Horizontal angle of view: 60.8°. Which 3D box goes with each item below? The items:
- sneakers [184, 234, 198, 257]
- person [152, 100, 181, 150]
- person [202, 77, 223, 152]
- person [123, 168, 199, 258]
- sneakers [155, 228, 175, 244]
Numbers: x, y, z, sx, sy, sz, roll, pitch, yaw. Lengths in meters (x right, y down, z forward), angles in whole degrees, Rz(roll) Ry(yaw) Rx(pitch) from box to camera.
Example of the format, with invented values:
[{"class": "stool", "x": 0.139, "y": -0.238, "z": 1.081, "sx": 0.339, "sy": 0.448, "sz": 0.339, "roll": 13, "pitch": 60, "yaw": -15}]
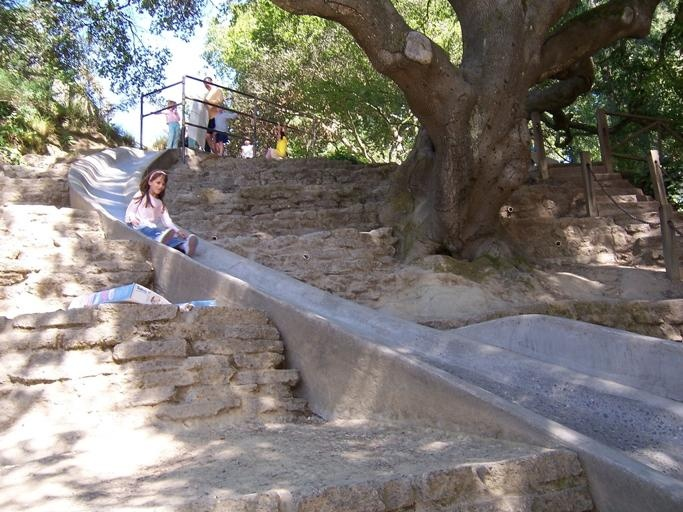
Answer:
[{"class": "sneakers", "x": -1.724, "y": -0.124, "z": 6.634, "sx": 0.125, "sy": 0.245, "sz": 0.264, "roll": 1, "pitch": 0, "yaw": -15}, {"class": "person", "x": -3.779, "y": -2.835, "z": 12.705, "sx": 0.442, "sy": 1.225, "sz": 1.593, "roll": 0, "pitch": 0, "yaw": -18}, {"class": "person", "x": -2.967, "y": -3.149, "z": 13.364, "sx": 0.373, "sy": 1.471, "sz": 2.830, "roll": 0, "pitch": 0, "yaw": -12}, {"class": "person", "x": -2.101, "y": -0.513, "z": 6.764, "sx": 0.619, "sy": 1.013, "sz": 0.946, "roll": 0, "pitch": 1, "yaw": -44}, {"class": "sneakers", "x": -1.982, "y": -0.252, "z": 6.498, "sx": 0.112, "sy": 0.219, "sz": 0.084, "roll": 36, "pitch": 3, "yaw": 28}]
